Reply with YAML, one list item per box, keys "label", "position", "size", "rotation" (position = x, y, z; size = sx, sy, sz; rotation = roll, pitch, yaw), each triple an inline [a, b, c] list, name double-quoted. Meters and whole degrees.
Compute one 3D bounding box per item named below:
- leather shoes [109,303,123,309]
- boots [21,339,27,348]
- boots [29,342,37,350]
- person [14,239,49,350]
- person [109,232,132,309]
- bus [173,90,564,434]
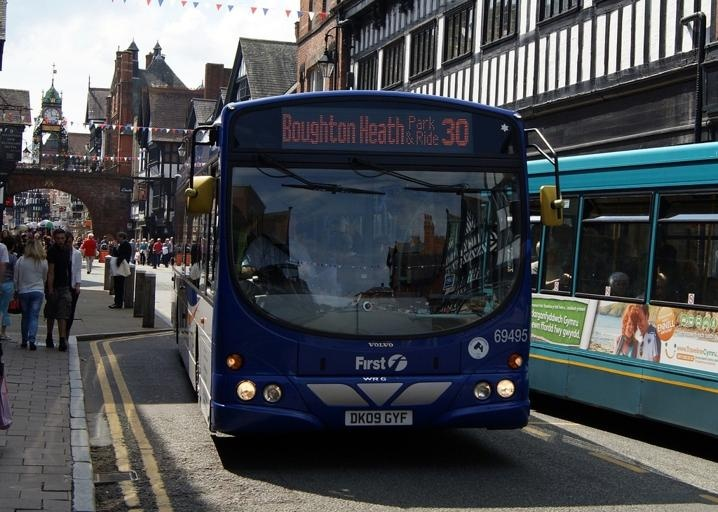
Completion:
- label: "leather shoes"
  position: [-6.790, 1.375, 23.405]
  size: [0.378, 0.187, 0.150]
  rotation: [6, 0, 7]
- label: "boots"
  position: [-5.942, 1.547, 14.933]
  size: [0.107, 0.193, 0.125]
  rotation: [-8, -6, 35]
- label: "boots"
  position: [-5.653, 1.559, 14.639]
  size: [0.086, 0.141, 0.136]
  rotation: [-2, 1, 1]
- label: "person"
  position: [-5.747, 0.644, 14.733]
  size: [0.521, 1.938, 0.644]
  rotation: [1, 2, -25]
- label: "person"
  position: [-6.619, 0.386, 23.361]
  size: [0.544, 2.102, 1.183]
  rotation: [1, 2, -17]
- label: "bus"
  position: [0.021, 0.076, 8.718]
  size: [2.121, 2.310, 5.022]
  rotation: [0, -3, -11]
